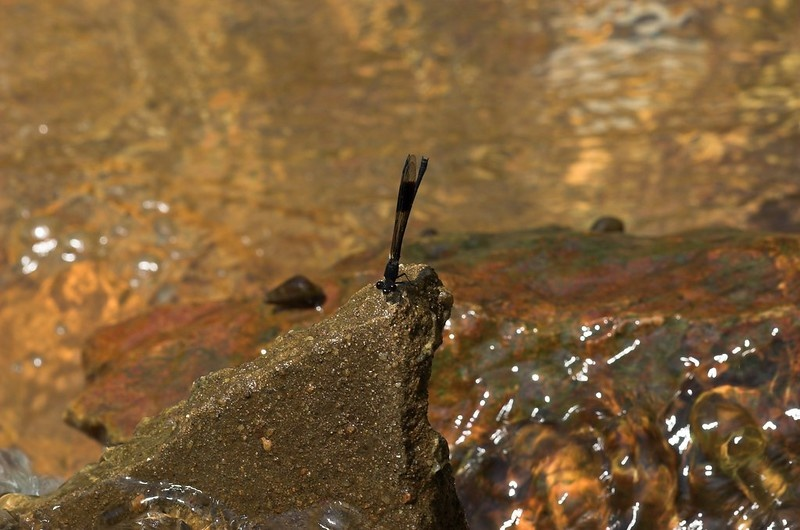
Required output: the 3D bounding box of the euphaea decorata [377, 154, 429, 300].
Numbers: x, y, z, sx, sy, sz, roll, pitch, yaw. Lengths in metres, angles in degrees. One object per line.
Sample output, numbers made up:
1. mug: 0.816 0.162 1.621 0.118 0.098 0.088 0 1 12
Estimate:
1. euphaea decorata: 0.005 -0.121 2.979 0.122 0.163 0.397 14 85 1
